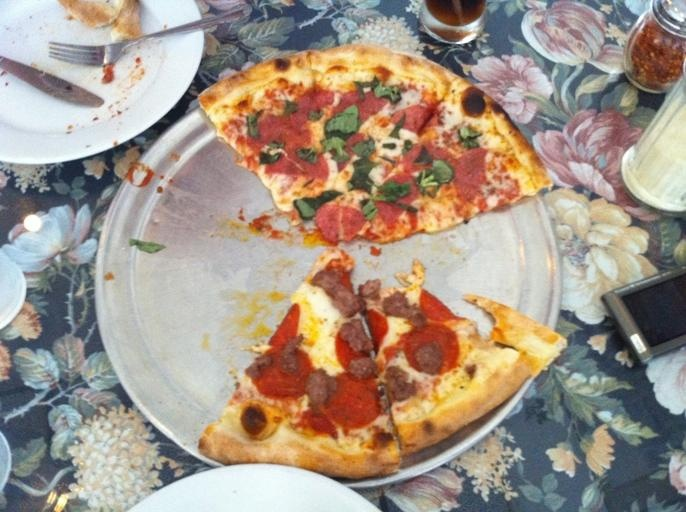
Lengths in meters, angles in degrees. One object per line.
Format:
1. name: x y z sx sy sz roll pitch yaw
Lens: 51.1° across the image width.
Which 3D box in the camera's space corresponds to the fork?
1. fork: -0.615 -0.677 2.215 0.646 0.076 0.082 -17 80 -2
